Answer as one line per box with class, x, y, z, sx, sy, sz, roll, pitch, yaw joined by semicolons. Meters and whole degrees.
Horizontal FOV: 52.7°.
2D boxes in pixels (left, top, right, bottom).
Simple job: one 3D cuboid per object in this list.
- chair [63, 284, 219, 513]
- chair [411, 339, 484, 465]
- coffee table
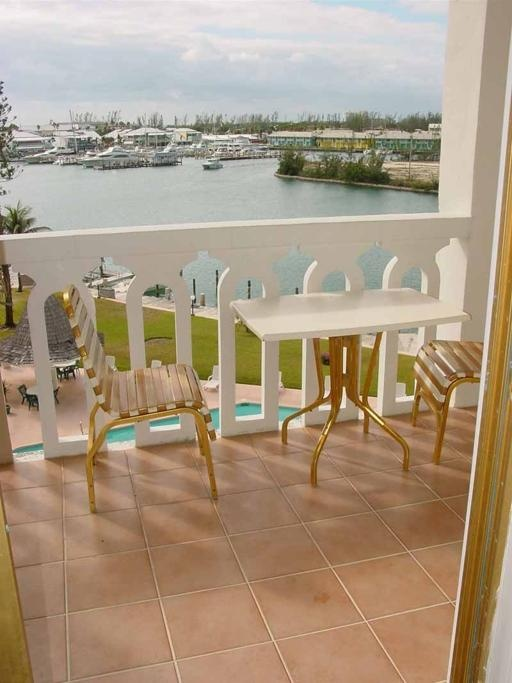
chair;-0.483;0.218;2.254;0.526;0.823;0.463;-6;18;-12
chair;0.911;0.297;2.480;0.354;0.467;0.468;-1;20;3
coffee table;0.407;0.207;2.493;0.979;0.819;0.688;-6;17;-12
